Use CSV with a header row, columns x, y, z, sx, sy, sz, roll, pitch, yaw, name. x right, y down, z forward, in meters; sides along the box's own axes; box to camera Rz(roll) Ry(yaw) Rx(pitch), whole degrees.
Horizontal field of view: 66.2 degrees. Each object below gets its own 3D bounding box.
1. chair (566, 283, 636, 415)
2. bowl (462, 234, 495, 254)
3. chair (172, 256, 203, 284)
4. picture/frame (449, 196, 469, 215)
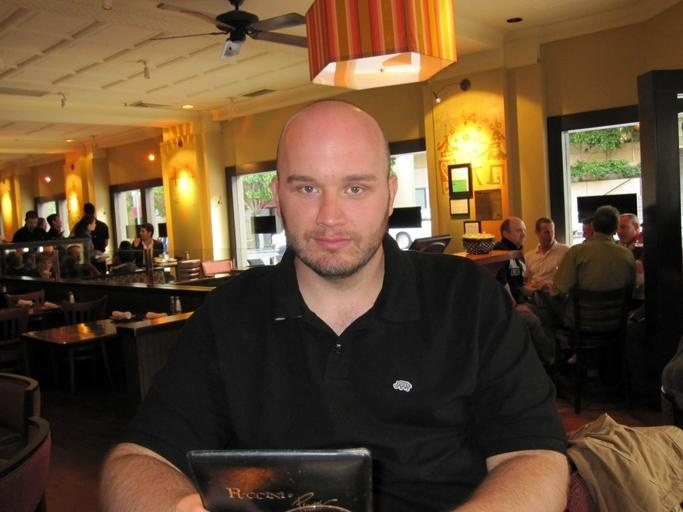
x,y,z,sx,sy,sz,roll,pitch,yaw,name
2.198,0.719,4.432,0.547,1.028,0.936,-10,4,25,chair
1.352,-0.114,5.129,0.241,0.117,0.240,1,-3,0,bowl
-2.022,0.195,6.871,0.338,0.315,0.343,-2,6,-24,chair
1.683,-0.725,7.493,0.323,0.228,0.042,-2,-3,31,picture/frame
